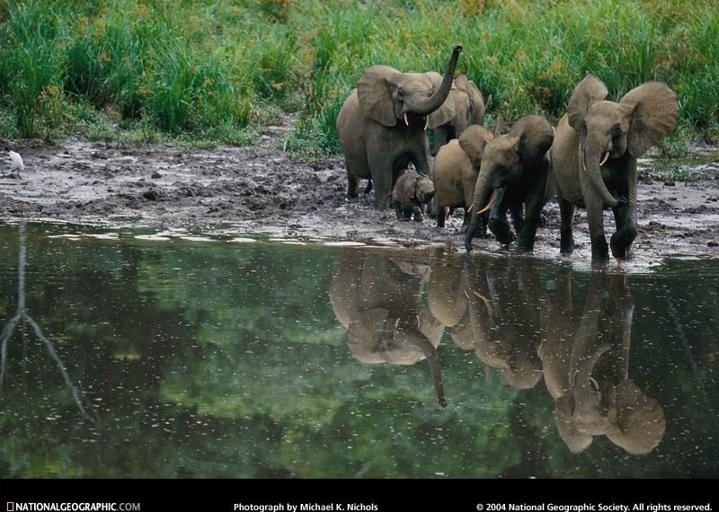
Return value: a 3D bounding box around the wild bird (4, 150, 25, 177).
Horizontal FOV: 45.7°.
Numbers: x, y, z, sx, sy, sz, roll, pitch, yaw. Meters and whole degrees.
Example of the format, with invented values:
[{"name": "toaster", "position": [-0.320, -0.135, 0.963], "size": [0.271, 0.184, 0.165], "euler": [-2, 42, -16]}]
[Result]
[{"name": "wild bird", "position": [-5.180, -1.392, 12.809], "size": [0.327, 0.267, 0.863], "euler": [16, 6, -15]}]
